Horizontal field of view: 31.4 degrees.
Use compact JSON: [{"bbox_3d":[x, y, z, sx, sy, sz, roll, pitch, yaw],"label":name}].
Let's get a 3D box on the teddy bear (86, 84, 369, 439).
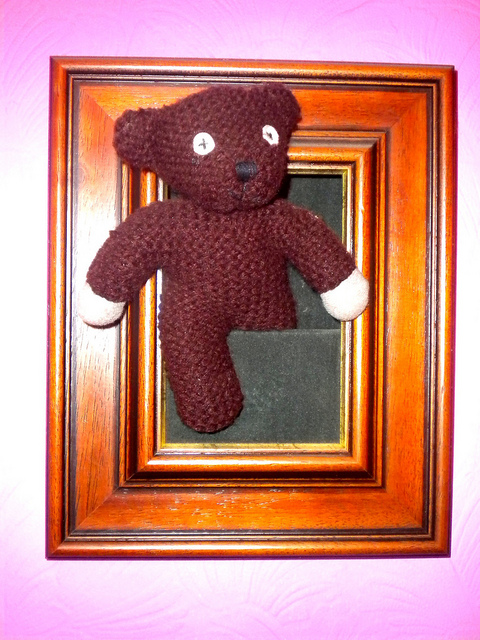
[{"bbox_3d":[-0.014,-0.069,0.863,0.286,0.199,0.306,-14,-44,-12],"label":"teddy bear"}]
